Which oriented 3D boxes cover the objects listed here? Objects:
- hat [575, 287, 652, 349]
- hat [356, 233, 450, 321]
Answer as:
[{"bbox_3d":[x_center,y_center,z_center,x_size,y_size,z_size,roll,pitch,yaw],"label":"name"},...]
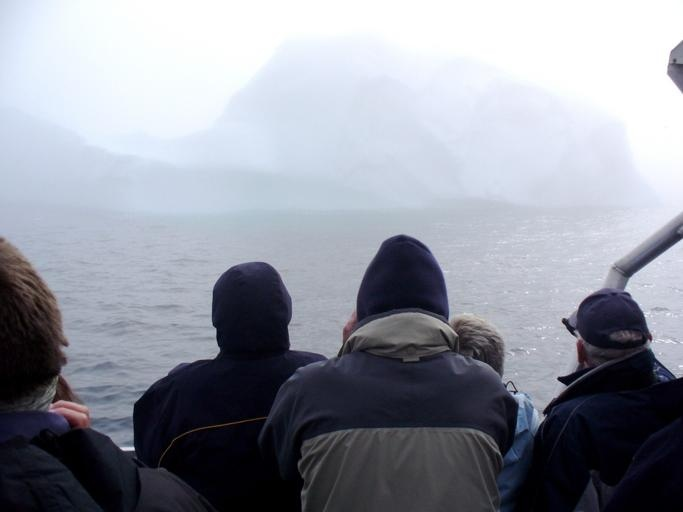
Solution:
[{"bbox_3d":[1.223,0.237,2.753,0.344,0.186,0.498,-6,13,14],"label":"hat"},{"bbox_3d":[0.215,0.083,2.116,0.307,0.291,0.318,5,-24,-3],"label":"hat"}]
